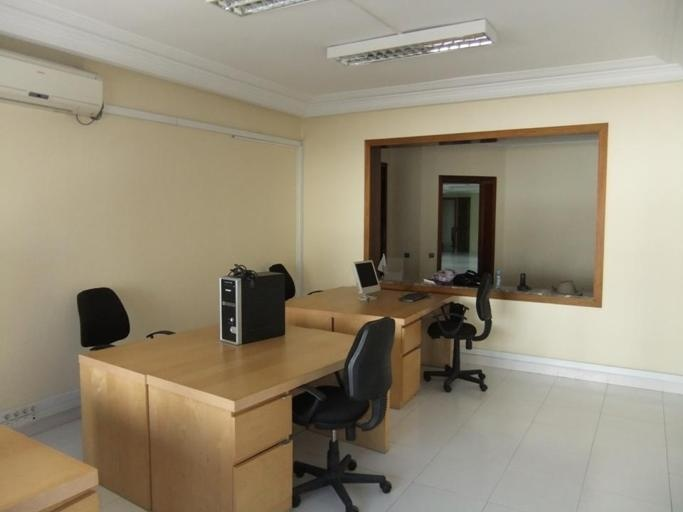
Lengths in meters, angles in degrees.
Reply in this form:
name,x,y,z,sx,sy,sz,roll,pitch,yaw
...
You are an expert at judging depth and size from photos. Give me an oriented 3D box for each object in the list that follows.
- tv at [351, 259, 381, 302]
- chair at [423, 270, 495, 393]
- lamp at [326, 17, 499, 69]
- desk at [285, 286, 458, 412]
name,x,y,z,sx,sy,sz,roll,pitch,yaw
tv,0.279,0.292,5.925,0.155,0.439,0.446,-3,2,28
chair,1.398,0.783,6.370,1.064,1.779,1.109,2,5,16
lamp,0.658,-2.040,4.933,1.557,0.266,0.360,6,14,24
desk,0.463,0.615,5.382,1.470,0.793,1.155,6,12,35
